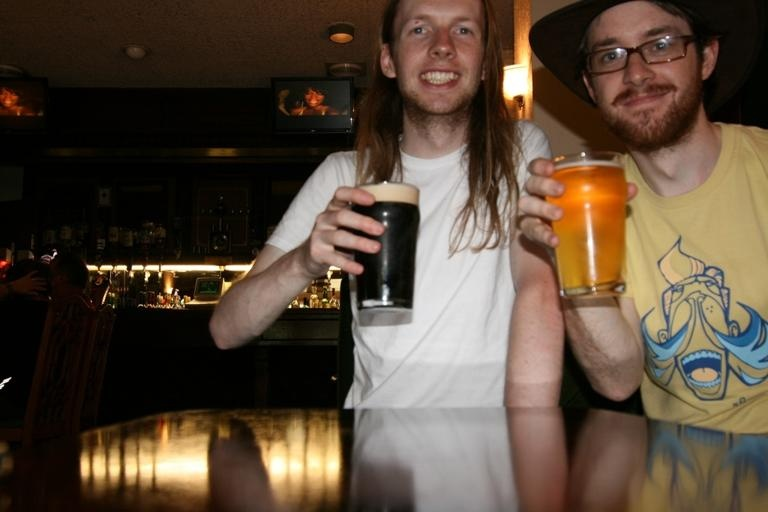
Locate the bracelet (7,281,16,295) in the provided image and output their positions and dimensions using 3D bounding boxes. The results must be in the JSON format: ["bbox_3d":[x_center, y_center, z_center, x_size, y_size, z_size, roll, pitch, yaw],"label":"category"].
[{"bbox_3d":[-3.081,0.262,5.240,0.080,0.066,0.073,1,-17,-14],"label":"bracelet"}]

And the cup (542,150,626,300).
[{"bbox_3d":[0.633,-0.094,1.956,0.256,0.443,0.127,-1,7,1],"label":"cup"}]

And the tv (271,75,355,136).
[{"bbox_3d":[-0.708,-1.492,6.287,0.666,0.391,0.083,1,5,4],"label":"tv"}]

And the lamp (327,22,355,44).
[{"bbox_3d":[-0.402,-2.085,5.966,0.169,0.056,0.156,1,-5,-17],"label":"lamp"}]
